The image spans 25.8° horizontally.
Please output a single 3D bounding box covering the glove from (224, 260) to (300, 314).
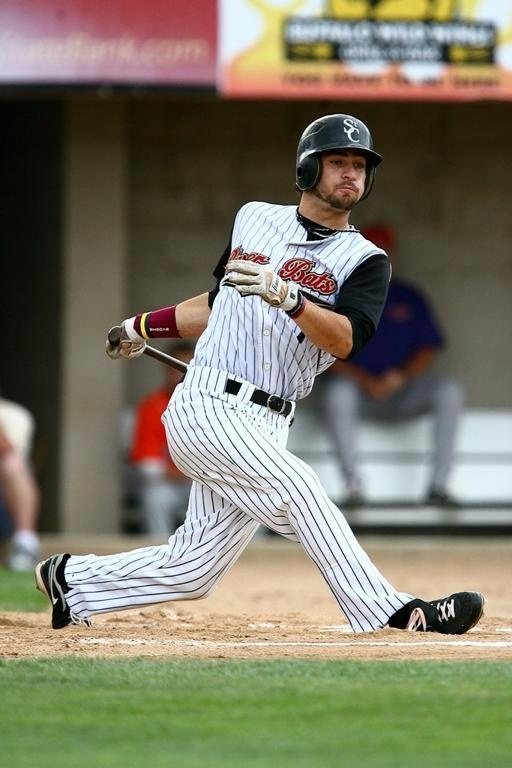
[{"bbox_3d":[0.017,-0.198,2.238,0.157,0.057,0.087,23,42,-10],"label":"glove"}]

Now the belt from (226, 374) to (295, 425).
[{"bbox_3d":[0.024,0.034,2.480,0.101,0.026,0.105,28,-7,-32],"label":"belt"}]

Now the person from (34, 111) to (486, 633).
[{"bbox_3d":[0.020,0.008,2.557,1.014,1.254,0.531,8,13,33],"label":"person"}]

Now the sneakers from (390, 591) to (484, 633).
[{"bbox_3d":[0.402,0.506,2.456,0.260,0.078,0.105,-8,-6,15],"label":"sneakers"}]

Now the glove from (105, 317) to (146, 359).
[{"bbox_3d":[-0.346,-0.126,2.960,0.094,0.117,0.054,12,40,-29],"label":"glove"}]

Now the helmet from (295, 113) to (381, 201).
[{"bbox_3d":[0.203,-0.534,2.674,0.193,0.175,0.235,8,-17,-20],"label":"helmet"}]
